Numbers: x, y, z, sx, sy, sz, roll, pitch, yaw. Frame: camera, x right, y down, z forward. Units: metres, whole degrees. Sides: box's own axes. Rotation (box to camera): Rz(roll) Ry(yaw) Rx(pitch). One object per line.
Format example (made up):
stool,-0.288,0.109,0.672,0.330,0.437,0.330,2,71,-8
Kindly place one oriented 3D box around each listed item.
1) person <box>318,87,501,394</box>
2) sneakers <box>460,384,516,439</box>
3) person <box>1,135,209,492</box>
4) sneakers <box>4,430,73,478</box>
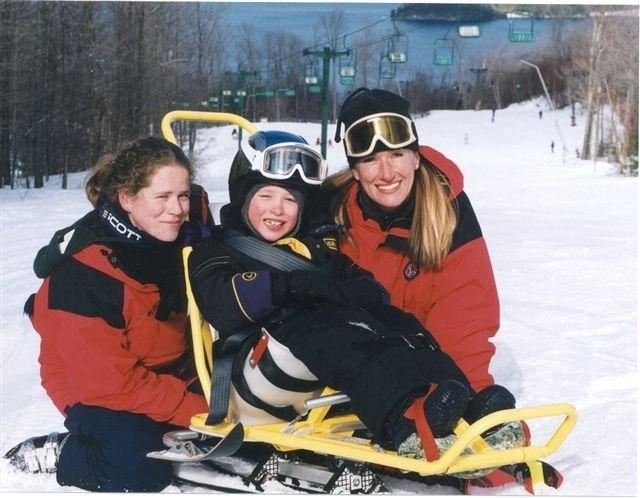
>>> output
person,0.640,0.007,5.047,0.984,1.814,0.810,-20,-14,3
sneakers,0.838,0.812,3.959,0.222,0.161,0.119,-38,-26,27
person,-1.147,0.385,4.633,0.998,2.028,0.403,-5,6,-19
sneakers,-1.709,1.220,4.846,0.529,0.187,0.212,-5,12,3
